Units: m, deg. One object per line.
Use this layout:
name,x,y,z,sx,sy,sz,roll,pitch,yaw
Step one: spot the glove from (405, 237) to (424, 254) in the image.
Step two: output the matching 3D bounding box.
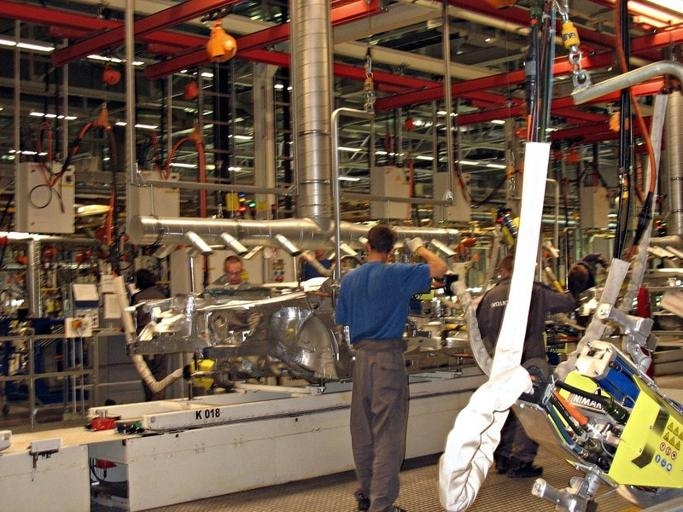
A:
glove,0.553,-0.075,5.535,0.131,0.075,0.120,1,-4,-31

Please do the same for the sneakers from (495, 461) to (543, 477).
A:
sneakers,1.573,1.910,6.799,0.257,0.074,0.260,-3,-6,44
